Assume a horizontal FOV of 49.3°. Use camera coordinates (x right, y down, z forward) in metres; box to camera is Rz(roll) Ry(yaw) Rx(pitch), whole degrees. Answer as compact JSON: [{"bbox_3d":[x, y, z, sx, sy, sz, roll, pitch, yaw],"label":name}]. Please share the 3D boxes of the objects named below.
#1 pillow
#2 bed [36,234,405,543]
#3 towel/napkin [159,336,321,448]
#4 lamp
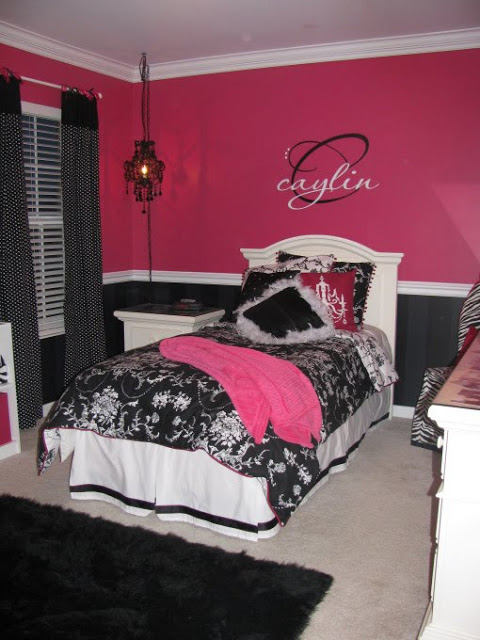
[{"bbox_3d":[0.396,-0.134,3.422,0.737,0.211,0.659,-3,31,7],"label":"pillow"},{"bbox_3d":[0.094,0.171,3.227,1.393,1.310,2.161,2,8,32],"label":"bed"},{"bbox_3d":[0.000,0.266,2.445,0.668,0.182,0.419,22,16,39],"label":"towel/napkin"},{"bbox_3d":[-0.784,-1.534,4.375,0.341,1.211,0.868,-1,7,-12],"label":"lamp"}]
